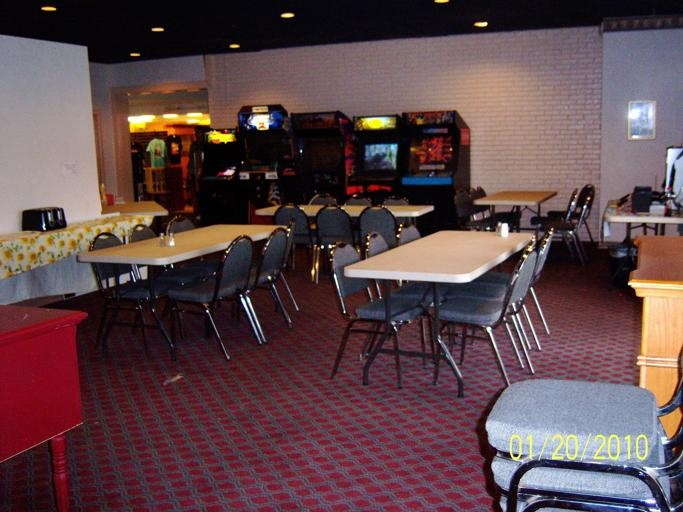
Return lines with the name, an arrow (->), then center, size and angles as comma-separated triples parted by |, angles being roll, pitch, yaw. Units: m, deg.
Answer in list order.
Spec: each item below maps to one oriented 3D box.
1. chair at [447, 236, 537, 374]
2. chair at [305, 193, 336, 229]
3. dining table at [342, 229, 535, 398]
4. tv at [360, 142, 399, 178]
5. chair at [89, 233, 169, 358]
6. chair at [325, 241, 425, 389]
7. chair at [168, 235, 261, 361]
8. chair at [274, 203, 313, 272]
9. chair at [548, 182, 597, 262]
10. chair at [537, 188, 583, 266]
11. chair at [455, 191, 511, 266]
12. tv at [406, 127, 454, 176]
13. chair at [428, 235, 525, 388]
chair -> 1.091, 0.382, 3.873 | 0.666, 0.959, 0.651 | 3, 10, 27
chair -> -0.312, -0.726, 8.142 | 0.475, 0.692, 0.481 | 3, 13, 8
dining table -> 0.914, 0.477, 4.272 | 0.878, 0.899, 2.004 | 0, 2, 33
tv -> 0.710, -1.748, 9.402 | 0.688, 0.548, 0.090 | 4, 8, 20
chair -> -1.899, 0.311, 4.878 | 0.834, 0.945, 0.746 | 11, 13, 25
chair -> 0.305, 0.365, 4.041 | 0.845, 0.965, 0.804 | -11, 11, -43
chair -> -1.137, 0.300, 4.642 | 0.815, 0.933, 0.801 | -6, 12, -30
chair -> -0.605, -0.383, 7.003 | 0.561, 0.914, 0.577 | 4, 16, 15
chair -> 3.383, -0.533, 7.760 | 0.788, 1.085, 0.691 | -2, 19, 27
chair -> 3.327, -0.502, 7.830 | 0.831, 1.134, 0.739 | 0, 13, 23
chair -> 2.114, -0.565, 8.175 | 0.832, 1.181, 0.926 | 6, 12, 35
tv -> 1.687, -1.894, 9.182 | 0.829, 0.745, 0.394 | 5, 17, 28
chair -> 1.104, 0.423, 3.941 | 0.717, 1.005, 0.665 | 2, 12, 24
